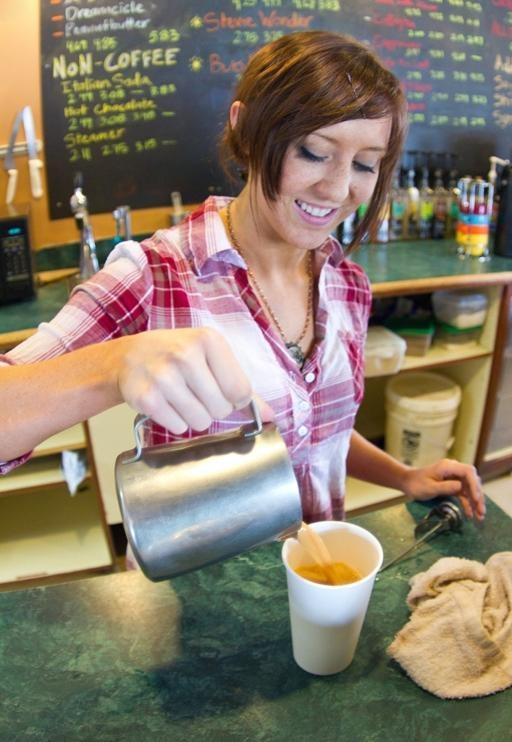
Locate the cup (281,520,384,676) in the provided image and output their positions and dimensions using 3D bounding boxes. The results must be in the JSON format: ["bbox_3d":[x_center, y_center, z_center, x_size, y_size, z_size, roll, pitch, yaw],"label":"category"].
[{"bbox_3d":[0.089,0.273,0.682,0.127,0.152,0.118,1,34,-1],"label":"cup"}]

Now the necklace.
[{"bbox_3d":[0.047,-0.155,1.156,0.171,0.336,0.059,-24,15,-38],"label":"necklace"}]

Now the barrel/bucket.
[{"bbox_3d":[0.695,0.209,2.424,0.293,0.321,0.307,-2,27,1],"label":"barrel/bucket"}]
